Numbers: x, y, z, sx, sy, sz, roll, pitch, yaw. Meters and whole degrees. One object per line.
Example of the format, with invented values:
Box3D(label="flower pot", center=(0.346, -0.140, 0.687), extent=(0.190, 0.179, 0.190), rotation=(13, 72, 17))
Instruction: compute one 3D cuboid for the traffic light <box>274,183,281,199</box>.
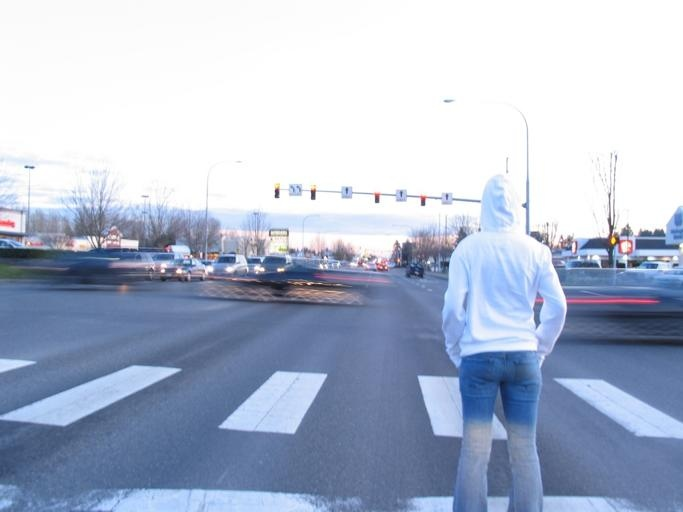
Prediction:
Box3D(label="traffic light", center=(-3.590, -3.614, 33.855), extent=(0.205, 0.700, 0.388), rotation=(-1, 6, -16))

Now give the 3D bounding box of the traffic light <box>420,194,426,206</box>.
Box3D(label="traffic light", center=(4.528, -3.106, 34.193), extent=(0.228, 0.541, 0.965), rotation=(1, 7, 6))

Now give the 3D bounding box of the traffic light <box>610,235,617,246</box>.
Box3D(label="traffic light", center=(16.254, -0.872, 36.540), extent=(0.159, 0.750, 0.757), rotation=(9, -22, 32))

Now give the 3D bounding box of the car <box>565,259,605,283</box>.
Box3D(label="car", center=(13.478, 0.687, 34.356), extent=(1.576, 1.779, 3.024), rotation=(0, -8, 13))
